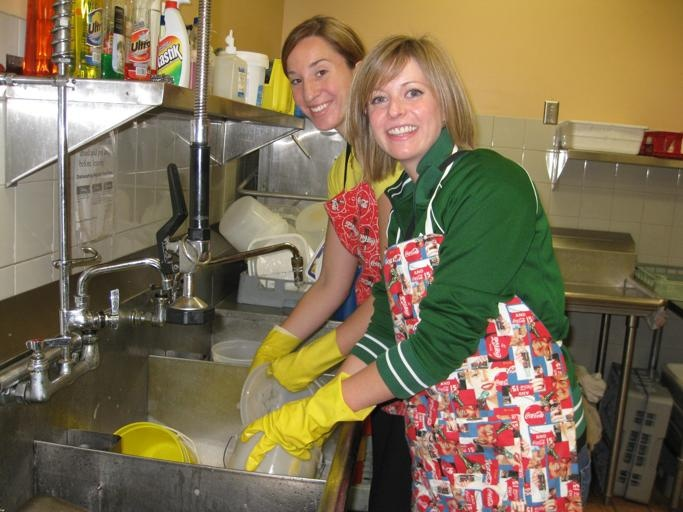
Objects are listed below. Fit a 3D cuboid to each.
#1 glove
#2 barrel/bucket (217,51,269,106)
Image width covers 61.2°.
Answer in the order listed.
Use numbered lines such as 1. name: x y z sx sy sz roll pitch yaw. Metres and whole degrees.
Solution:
1. glove: -0.086 0.384 1.461 0.192 0.349 0.129 36 23 -11
2. barrel/bucket: -0.335 -0.639 2.067 0.140 0.196 0.131 8 16 -2
